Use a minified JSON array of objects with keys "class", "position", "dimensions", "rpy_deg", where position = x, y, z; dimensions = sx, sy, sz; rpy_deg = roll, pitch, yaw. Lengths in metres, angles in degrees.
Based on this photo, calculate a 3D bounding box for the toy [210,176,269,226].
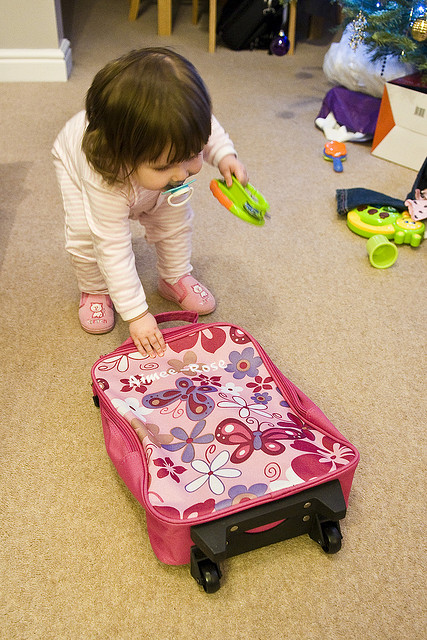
[{"class":"toy","position":[0.049,-0.210,0.936],"dimensions":[0.109,0.039,0.077],"rpy_deg":[45,32,16]}]

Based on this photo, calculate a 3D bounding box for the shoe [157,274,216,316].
[{"class":"shoe","position":[-0.054,-0.052,1.142],"dimensions":[0.133,0.058,0.062],"rpy_deg":[27,48,28]}]

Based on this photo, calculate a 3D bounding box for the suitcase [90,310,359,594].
[{"class":"suitcase","position":[-0.001,0.153,0.766],"dimensions":[0.302,0.112,0.431],"rpy_deg":[-5,39,-17]}]

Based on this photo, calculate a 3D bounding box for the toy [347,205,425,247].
[{"class":"toy","position":[0.438,-0.244,1.344],"dimensions":[0.193,0.065,0.106],"rpy_deg":[12,39,16]}]

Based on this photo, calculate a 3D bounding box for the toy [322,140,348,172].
[{"class":"toy","position":[0.380,-0.518,1.644],"dimensions":[0.070,0.046,0.121],"rpy_deg":[-2,48,-4]}]

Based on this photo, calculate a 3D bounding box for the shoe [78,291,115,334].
[{"class":"shoe","position":[-0.232,-0.018,1.045],"dimensions":[0.045,0.051,0.125],"rpy_deg":[-3,20,-12]}]
